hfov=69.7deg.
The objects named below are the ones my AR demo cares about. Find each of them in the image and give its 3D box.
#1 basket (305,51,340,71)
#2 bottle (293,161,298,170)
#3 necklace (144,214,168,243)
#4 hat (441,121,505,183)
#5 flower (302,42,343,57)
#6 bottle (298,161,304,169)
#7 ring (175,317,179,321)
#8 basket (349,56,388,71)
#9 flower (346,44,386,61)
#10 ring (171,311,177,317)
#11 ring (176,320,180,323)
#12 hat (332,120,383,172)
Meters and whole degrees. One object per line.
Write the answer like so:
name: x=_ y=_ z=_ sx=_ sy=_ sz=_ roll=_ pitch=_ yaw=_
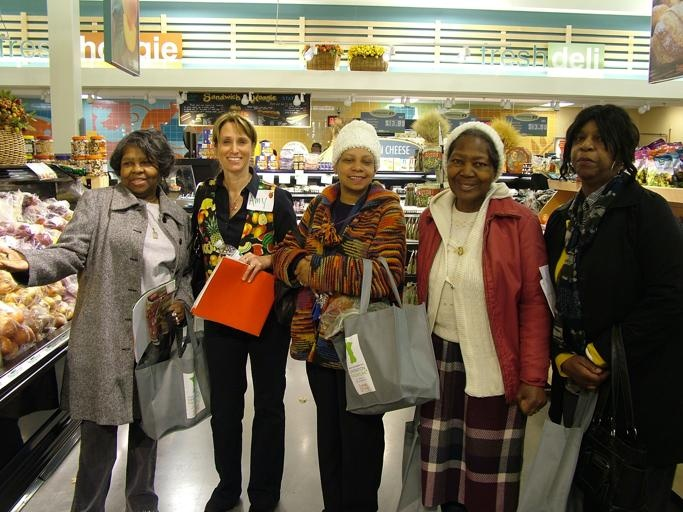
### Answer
basket: x=-0.297 y=-2.995 z=7.484 sx=0.351 sy=0.213 sz=0.343 roll=0 pitch=1 yaw=-3
bottle: x=-0.513 y=-1.043 z=5.645 sx=0.069 sy=0.107 sz=0.071 roll=0 pitch=5 yaw=0
necklace: x=-0.952 y=-0.146 z=2.527 sx=0.030 sy=0.105 sz=0.109 roll=-31 pitch=-27 yaw=28
hat: x=0.655 y=-0.480 z=2.359 sx=0.256 sy=0.292 sz=0.120 roll=2 pitch=5 yaw=9
flower: x=-0.295 y=-3.165 z=7.484 sx=0.605 sy=0.216 sz=0.434 roll=1 pitch=10 yaw=5
bottle: x=-0.457 y=-1.050 z=5.638 sx=0.072 sy=0.076 sz=0.071 roll=1 pitch=3 yaw=2
ring: x=-0.830 y=0.315 z=2.482 sx=0.005 sy=0.014 sz=0.015 roll=-24 pitch=5 yaw=0
basket: x=0.421 y=-2.923 z=7.521 sx=0.403 sy=0.134 sz=0.262 roll=0 pitch=6 yaw=2
flower: x=0.381 y=-3.101 z=7.450 sx=0.363 sy=0.129 sz=0.265 roll=1 pitch=8 yaw=1
ring: x=-0.840 y=0.288 z=2.464 sx=0.023 sy=0.021 sz=0.015 roll=8 pitch=-25 yaw=-26
ring: x=-0.828 y=0.330 z=2.486 sx=0.004 sy=0.010 sz=0.010 roll=-46 pitch=24 yaw=-9
hat: x=0.071 y=-0.548 z=2.384 sx=0.242 sy=0.252 sz=0.256 roll=-4 pitch=22 yaw=-9
